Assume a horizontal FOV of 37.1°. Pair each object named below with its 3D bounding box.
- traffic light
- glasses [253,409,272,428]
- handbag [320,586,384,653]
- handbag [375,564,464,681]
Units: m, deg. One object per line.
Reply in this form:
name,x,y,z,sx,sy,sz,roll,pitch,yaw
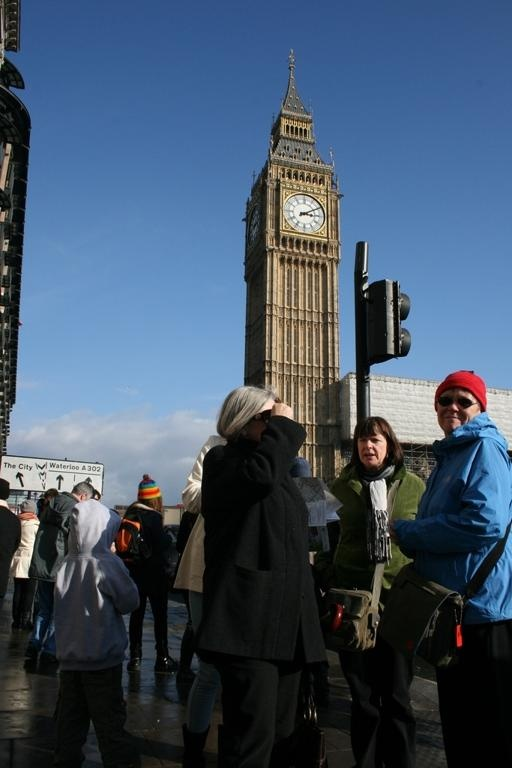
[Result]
traffic light,0.917,-0.433,5.313,0.310,0.597,0.351,3,-4,7
glasses,0.028,0.130,2.901,0.064,0.067,0.025,-4,31,-24
handbag,0.429,1.041,3.425,0.295,0.262,0.214,10,-9,-42
handbag,0.638,0.885,2.909,0.188,0.276,0.355,8,0,-24
